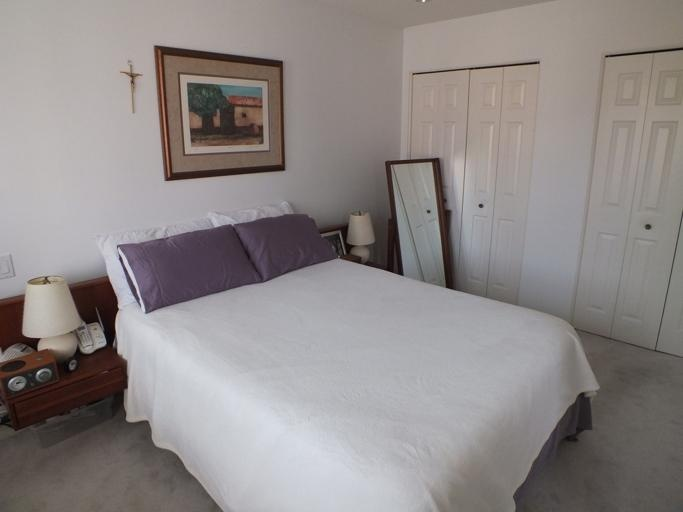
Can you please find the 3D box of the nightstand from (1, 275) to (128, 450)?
[{"bbox_3d":[-1.741,0.699,2.843,0.388,0.806,0.771,14,24,34],"label":"nightstand"}]

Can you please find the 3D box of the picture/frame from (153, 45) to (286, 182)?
[{"bbox_3d":[-0.974,-1.136,3.508,1.018,0.960,0.047,-12,18,-44],"label":"picture/frame"}]

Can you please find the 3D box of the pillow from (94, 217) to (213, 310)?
[{"bbox_3d":[-1.499,0.147,3.312,0.738,0.553,0.217,-15,-9,-41],"label":"pillow"}]
